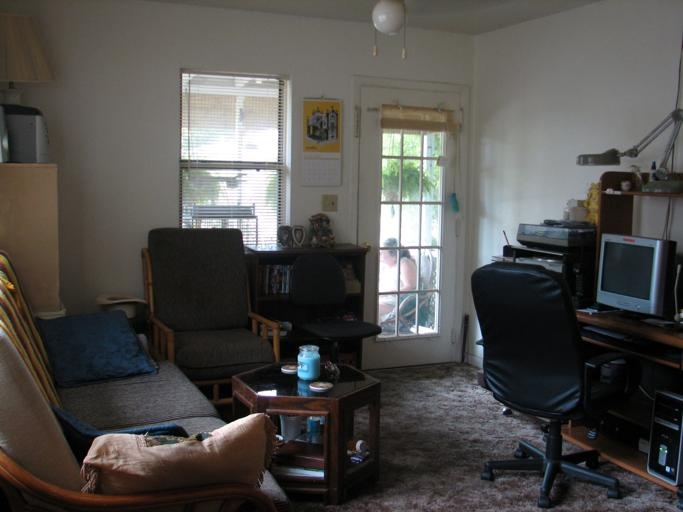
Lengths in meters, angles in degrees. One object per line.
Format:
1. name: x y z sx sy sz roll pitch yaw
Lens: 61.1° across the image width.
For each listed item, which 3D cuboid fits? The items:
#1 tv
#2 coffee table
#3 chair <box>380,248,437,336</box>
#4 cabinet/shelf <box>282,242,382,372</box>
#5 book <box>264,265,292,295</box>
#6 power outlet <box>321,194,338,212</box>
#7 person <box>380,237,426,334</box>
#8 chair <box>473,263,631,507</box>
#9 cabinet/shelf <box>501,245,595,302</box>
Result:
1. tv: 1.827 0.123 3.581 0.275 0.480 0.489 6 1 -33
2. coffee table: -0.150 0.915 3.373 0.754 0.522 0.678 -1 3 -9
3. chair: 0.625 0.310 5.407 0.526 0.639 0.471 -1 15 21
4. cabinet/shelf: -0.062 0.479 4.426 0.511 0.959 0.584 -4 9 -30
5. book: -0.487 0.164 4.694 0.210 0.276 0.287 -1 0 16
6. power outlet: -0.111 -0.459 4.915 0.142 0.134 0.019 -10 13 -28
7. person: 0.519 0.352 5.394 0.578 0.984 0.423 2 12 12
8. chair: 1.138 0.679 3.252 0.861 1.323 0.511 3 11 13
9. cabinet/shelf: 1.448 0.075 4.051 0.405 0.380 0.616 2 3 -32
